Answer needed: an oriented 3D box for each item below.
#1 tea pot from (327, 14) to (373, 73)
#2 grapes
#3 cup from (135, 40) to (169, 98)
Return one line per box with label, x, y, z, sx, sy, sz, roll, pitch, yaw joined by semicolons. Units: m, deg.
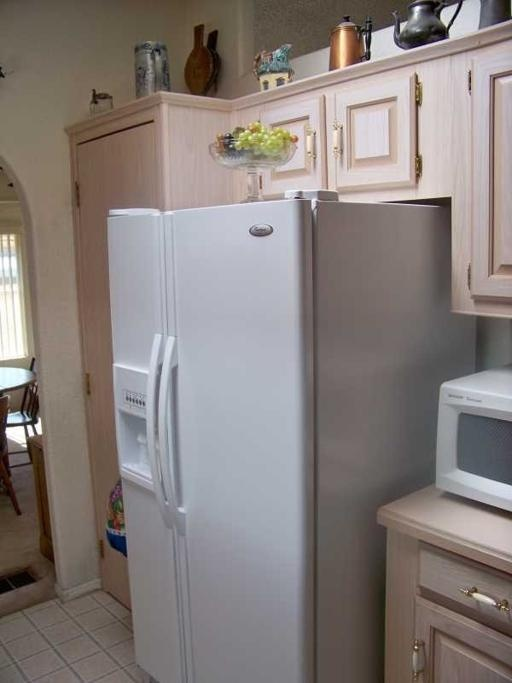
tea pot;0.291;-0.847;1.616;0.094;0.215;0.132;-13;20;-40
grapes;0.000;-0.507;1.459;0.175;0.133;0.168;-13;15;-33
cup;-0.420;-1.060;2.114;0.146;0.203;0.126;-2;13;6
